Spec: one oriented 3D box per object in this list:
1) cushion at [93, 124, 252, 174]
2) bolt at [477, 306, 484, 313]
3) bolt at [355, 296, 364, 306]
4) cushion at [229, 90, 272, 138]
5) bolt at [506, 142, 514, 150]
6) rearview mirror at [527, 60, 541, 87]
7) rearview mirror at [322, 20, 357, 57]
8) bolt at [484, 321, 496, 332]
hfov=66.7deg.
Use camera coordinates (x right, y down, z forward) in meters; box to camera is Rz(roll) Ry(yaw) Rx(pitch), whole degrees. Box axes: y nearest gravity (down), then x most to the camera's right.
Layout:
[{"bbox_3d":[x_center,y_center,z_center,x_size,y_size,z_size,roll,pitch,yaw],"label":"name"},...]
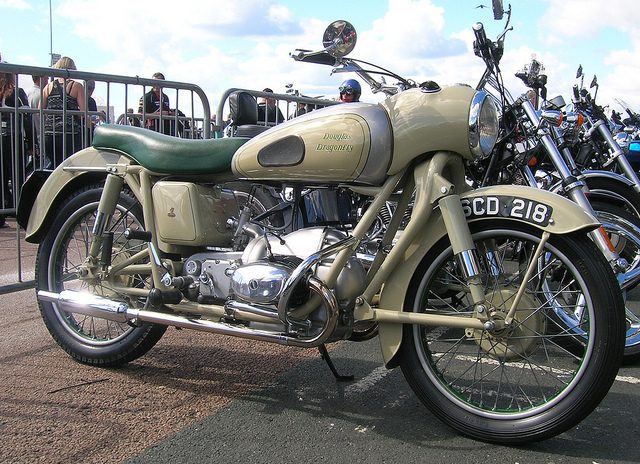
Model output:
[{"bbox_3d":[-1.020,-0.554,3.480,1.127,0.336,0.316,1,0,-18],"label":"cushion"},{"bbox_3d":[0.895,0.435,2.724,0.026,0.036,0.034,0,-19,35],"label":"bolt"},{"bbox_3d":[0.237,0.417,2.923,0.051,0.049,0.040,23,48,24],"label":"bolt"},{"bbox_3d":[-0.589,-1.050,4.370,0.381,0.443,0.359,4,5,39],"label":"cushion"},{"bbox_3d":[1.636,-0.745,4.203,0.058,0.062,0.014,0,-8,33],"label":"bolt"},{"bbox_3d":[2.165,-1.626,4.935,0.151,0.266,0.070,3,0,9],"label":"rearview mirror"},{"bbox_3d":[0.123,-1.349,3.399,0.225,0.262,0.228,-24,41,-19],"label":"rearview mirror"},{"bbox_3d":[0.939,0.521,2.704,0.043,0.045,0.044,-1,35,-12],"label":"bolt"}]
